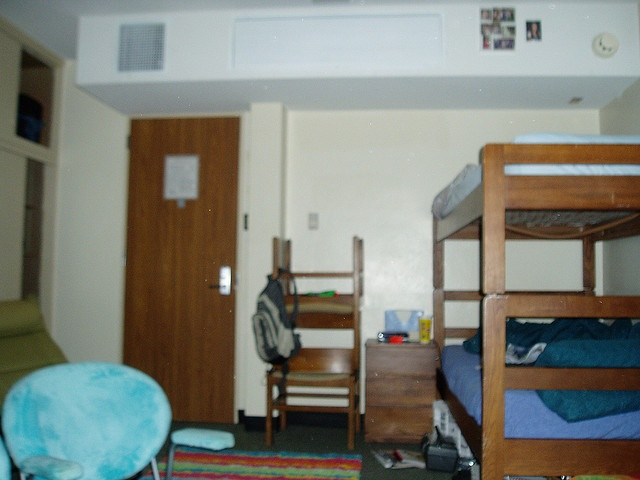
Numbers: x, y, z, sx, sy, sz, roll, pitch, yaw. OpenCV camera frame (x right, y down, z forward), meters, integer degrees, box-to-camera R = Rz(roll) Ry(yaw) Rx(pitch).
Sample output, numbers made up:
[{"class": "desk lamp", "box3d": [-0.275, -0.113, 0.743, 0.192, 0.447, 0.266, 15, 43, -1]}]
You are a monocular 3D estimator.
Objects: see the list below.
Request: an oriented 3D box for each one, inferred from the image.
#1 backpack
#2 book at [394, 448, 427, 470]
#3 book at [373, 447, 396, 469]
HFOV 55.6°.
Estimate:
[{"class": "backpack", "box3d": [-0.320, 0.595, 4.612, 0.299, 0.694, 0.418, 3, 9, 43]}, {"class": "book", "box3d": [0.635, 1.546, 4.265, 0.155, 0.046, 0.163, 0, 2, 0]}, {"class": "book", "box3d": [0.460, 1.556, 4.354, 0.138, 0.043, 0.290, -5, 7, -15]}]
